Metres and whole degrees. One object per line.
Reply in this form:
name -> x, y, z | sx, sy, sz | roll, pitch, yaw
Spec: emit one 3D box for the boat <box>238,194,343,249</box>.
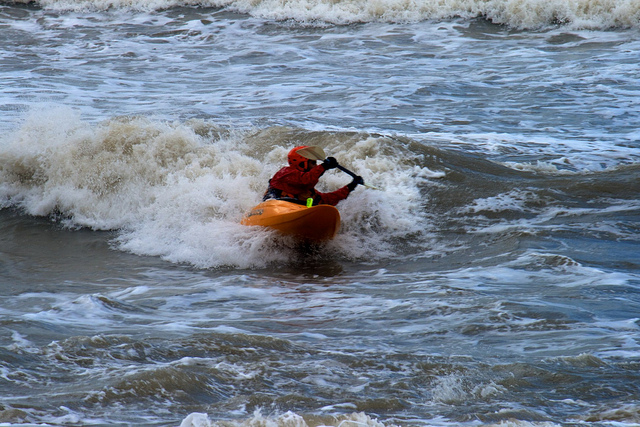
boat -> -0.328, 0.175, 15.919 | 1.510, 0.526, 2.304 | 19, -9, -10
